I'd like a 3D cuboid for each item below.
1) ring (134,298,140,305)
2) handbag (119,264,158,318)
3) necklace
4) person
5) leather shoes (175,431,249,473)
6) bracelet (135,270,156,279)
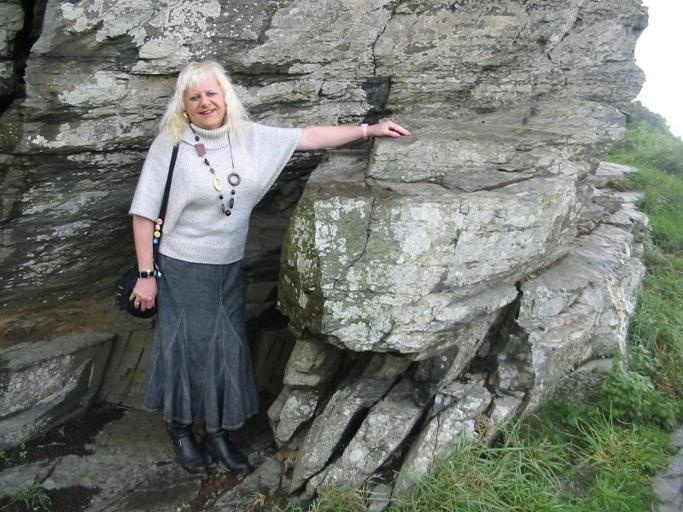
[{"bbox_3d":[-1.362,0.305,3.119,0.053,0.030,0.048,-1,4,-22],"label":"ring"},{"bbox_3d":[-1.420,0.258,3.229,0.179,0.342,0.315,19,-1,-32],"label":"handbag"},{"bbox_3d":[-0.790,-0.524,2.955,0.204,0.506,0.339,-12,33,-42],"label":"necklace"},{"bbox_3d":[-0.889,0.175,3.189,1.066,2.804,0.868,11,25,-5],"label":"person"},{"bbox_3d":[-0.967,1.436,3.407,0.327,0.166,0.506,-10,12,-36],"label":"leather shoes"},{"bbox_3d":[-1.290,0.113,3.093,0.099,0.047,0.091,0,1,27],"label":"bracelet"}]
